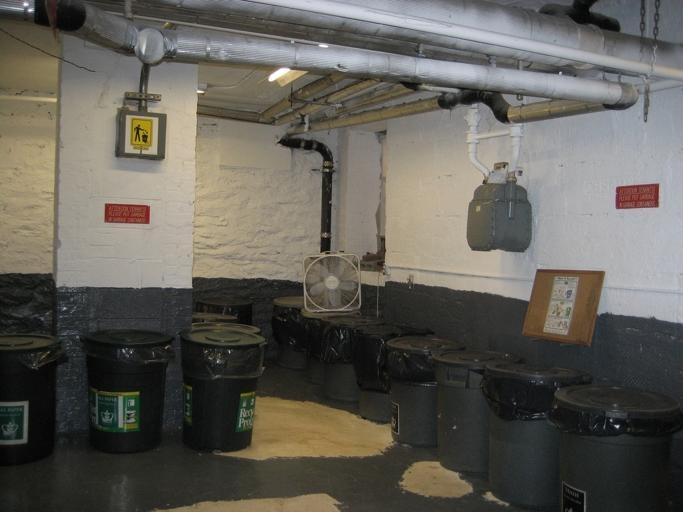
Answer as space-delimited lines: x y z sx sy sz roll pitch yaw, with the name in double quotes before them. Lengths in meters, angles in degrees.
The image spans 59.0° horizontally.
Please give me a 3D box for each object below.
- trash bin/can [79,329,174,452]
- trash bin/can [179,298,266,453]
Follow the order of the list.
"trash bin/can" -1.830 1.188 5.198 0.725 0.976 0.275 1 6 -15
"trash bin/can" -1.080 1.192 5.445 0.763 1.008 0.517 2 5 -4
